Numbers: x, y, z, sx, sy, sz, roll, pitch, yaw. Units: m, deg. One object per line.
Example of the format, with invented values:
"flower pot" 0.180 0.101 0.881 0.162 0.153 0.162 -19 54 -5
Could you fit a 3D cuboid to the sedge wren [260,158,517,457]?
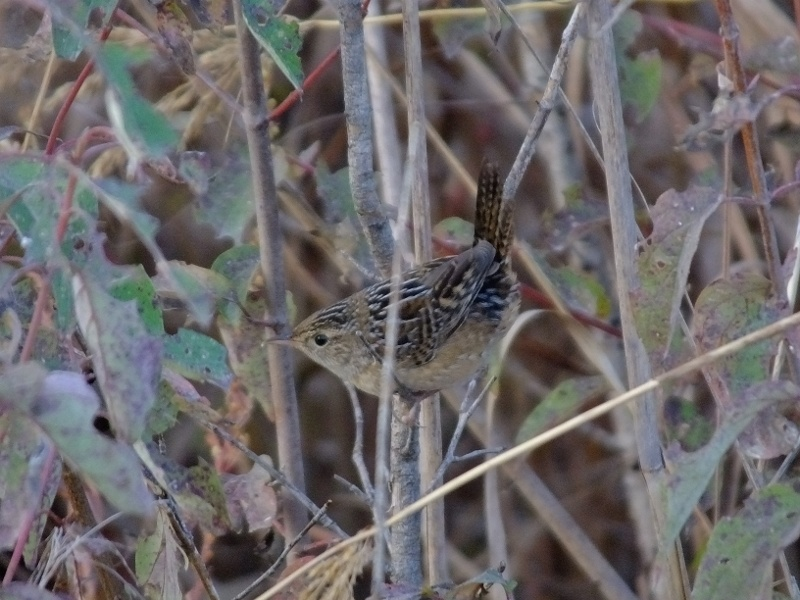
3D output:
"sedge wren" -0.021 0.054 2.670 0.605 0.601 0.534 -1 30 12
